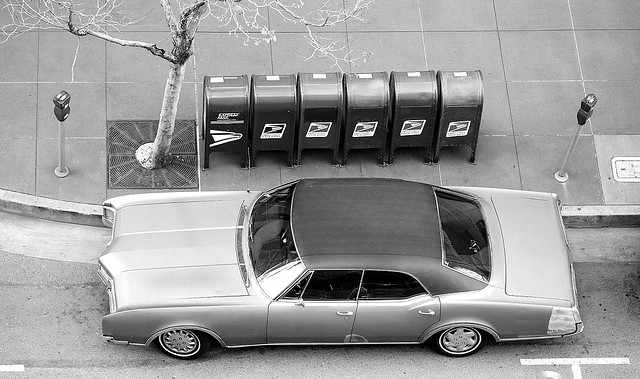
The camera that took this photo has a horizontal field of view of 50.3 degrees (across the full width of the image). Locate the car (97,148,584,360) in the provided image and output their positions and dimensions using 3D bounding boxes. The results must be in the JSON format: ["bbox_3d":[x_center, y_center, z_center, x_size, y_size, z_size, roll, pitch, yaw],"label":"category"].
[{"bbox_3d":[0.289,1.268,12.748,8.744,2.042,3.397,1,41,-3],"label":"car"}]

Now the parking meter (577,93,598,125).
[{"bbox_3d":[5.313,-1.600,13.592,0.324,0.597,0.412,0,5,21],"label":"parking meter"}]

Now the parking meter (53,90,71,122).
[{"bbox_3d":[-4.946,-1.591,13.026,0.269,0.591,0.404,-3,5,-20],"label":"parking meter"}]

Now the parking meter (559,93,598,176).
[{"bbox_3d":[5.257,-1.091,13.796,0.713,1.629,0.496,1,2,9],"label":"parking meter"}]
